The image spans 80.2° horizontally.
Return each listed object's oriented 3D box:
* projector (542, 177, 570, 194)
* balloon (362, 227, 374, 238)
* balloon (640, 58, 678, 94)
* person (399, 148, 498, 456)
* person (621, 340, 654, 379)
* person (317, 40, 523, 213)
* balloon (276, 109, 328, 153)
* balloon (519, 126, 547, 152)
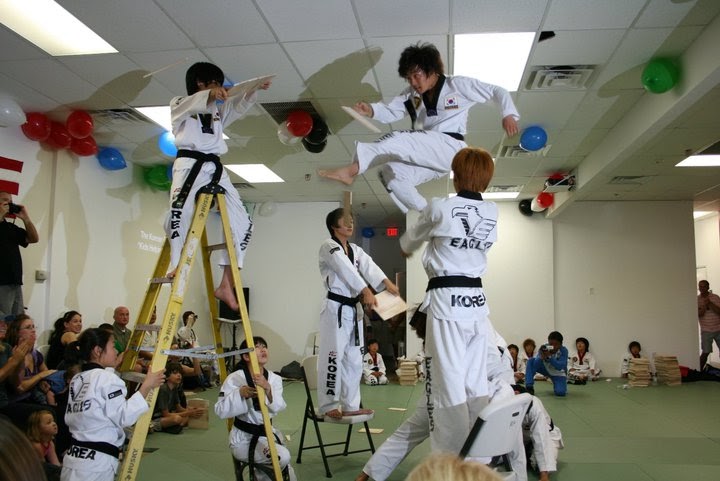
[{"bbox_3d":[3.906,-1.068,8.481,0.461,0.215,0.612,-2,-7,19],"label":"projector"},{"bbox_3d":[0.184,-0.234,12.303,0.462,0.247,0.311,4,-6,31],"label":"balloon"},{"bbox_3d":[3.384,-1.858,4.772,0.475,0.425,0.208,2,-6,-24],"label":"balloon"},{"bbox_3d":[0.656,0.404,3.012,0.639,2.120,0.310,-1,-6,7],"label":"person"},{"bbox_3d":[5.635,2.478,8.815,0.453,0.744,1.151,-4,-7,32],"label":"person"},{"bbox_3d":[0.458,-0.855,3.572,1.433,1.506,0.609,16,-14,-4],"label":"person"},{"bbox_3d":[-0.809,-1.485,5.982,0.644,0.393,0.600,-8,17,5],"label":"balloon"},{"bbox_3d":[2.505,-1.500,6.185,0.320,0.378,0.404,-2,-6,19],"label":"balloon"}]
